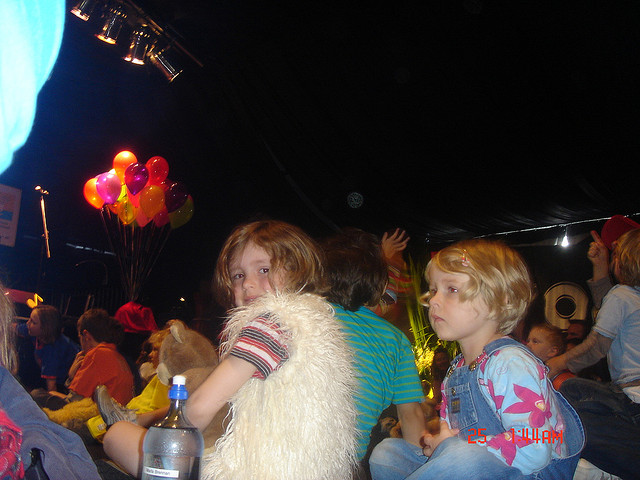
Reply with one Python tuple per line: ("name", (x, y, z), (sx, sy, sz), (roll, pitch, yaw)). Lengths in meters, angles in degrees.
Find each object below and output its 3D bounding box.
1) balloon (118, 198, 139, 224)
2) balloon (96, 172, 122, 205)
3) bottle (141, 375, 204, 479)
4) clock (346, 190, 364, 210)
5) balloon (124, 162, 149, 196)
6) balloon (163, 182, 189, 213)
("balloon", (-2.720, -0.379, 6.070), (0.296, 0.416, 0.343), (1, -12, -12))
("balloon", (-2.976, -0.726, 5.873), (0.395, 0.386, 0.276), (-6, -22, 29))
("bottle", (-0.447, 0.606, 1.337), (0.201, 0.301, 0.189), (4, -19, 2))
("clock", (0.686, -0.673, 7.153), (0.339, 0.264, 0.174), (-3, -21, 21))
("balloon", (-2.538, -0.835, 5.750), (0.314, 0.503, 0.306), (8, -2, -41))
("balloon", (-2.077, -0.613, 5.995), (0.285, 0.402, 0.227), (21, -10, 5))
